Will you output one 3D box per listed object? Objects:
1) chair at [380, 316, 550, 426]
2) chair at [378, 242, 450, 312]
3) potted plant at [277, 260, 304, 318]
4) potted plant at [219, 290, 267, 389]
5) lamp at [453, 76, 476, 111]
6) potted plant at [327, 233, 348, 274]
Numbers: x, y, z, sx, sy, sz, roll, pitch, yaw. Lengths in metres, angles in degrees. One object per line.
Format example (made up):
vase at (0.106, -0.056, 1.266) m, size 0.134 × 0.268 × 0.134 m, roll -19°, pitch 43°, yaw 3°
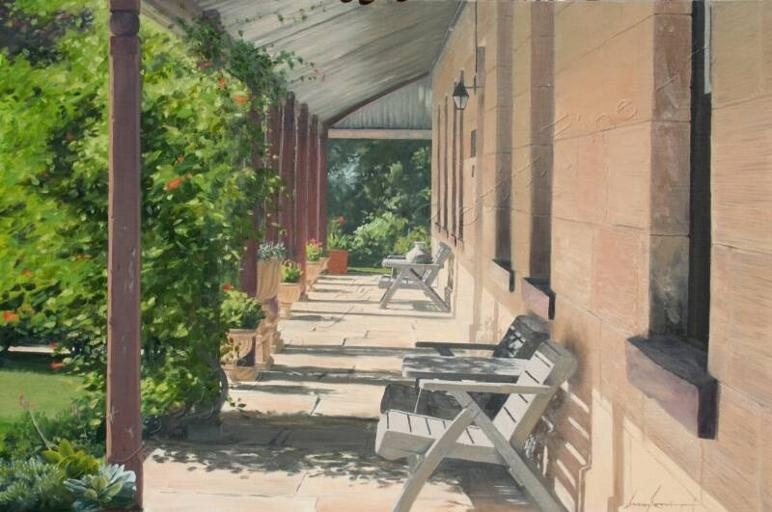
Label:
chair at (0.547, 0.864, 6.462) m, size 0.876 × 0.756 × 0.733 m, roll 2°, pitch 17°, yaw -10°
chair at (0.368, 0.261, 12.696) m, size 0.842 × 0.847 × 0.783 m, roll 1°, pitch 1°, yaw 3°
potted plant at (-1.101, 0.360, 11.387) m, size 0.486 × 0.692 × 0.496 m, roll 2°, pitch -2°, yaw -5°
potted plant at (-1.164, 0.653, 8.045) m, size 0.332 × 0.752 × 0.611 m, roll 3°, pitch -2°, yaw -7°
lamp at (0.729, -1.482, 9.301) m, size 0.206 × 0.381 × 0.166 m, roll -8°, pitch -31°, yaw 20°
potted plant at (-0.884, -0.016, 17.860) m, size 0.411 × 0.729 × 0.527 m, roll -1°, pitch 1°, yaw -12°
